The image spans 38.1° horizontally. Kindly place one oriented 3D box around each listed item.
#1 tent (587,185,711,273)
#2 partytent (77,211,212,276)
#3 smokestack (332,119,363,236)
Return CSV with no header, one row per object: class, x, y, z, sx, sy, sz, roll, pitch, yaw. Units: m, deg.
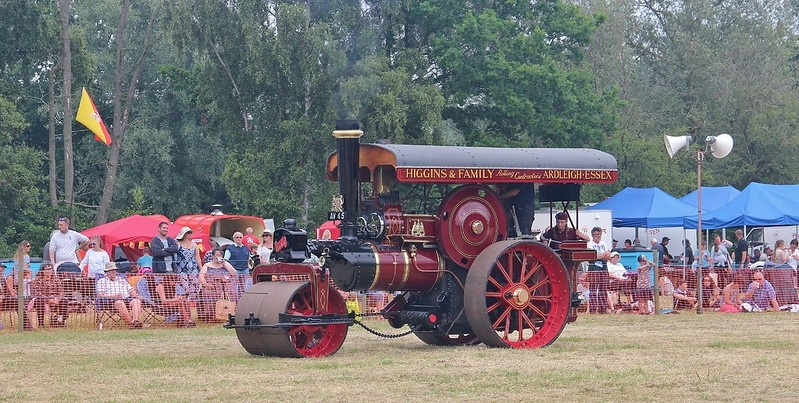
tent,14.833,1.374,64.504,5.269,2.952,5.000,2,3,38
partytent,-12.379,1.256,54.765,4.257,1.270,4.059,4,14,1
smokestack,-1.977,-0.937,44.974,1.003,4.421,1.377,0,15,-3
